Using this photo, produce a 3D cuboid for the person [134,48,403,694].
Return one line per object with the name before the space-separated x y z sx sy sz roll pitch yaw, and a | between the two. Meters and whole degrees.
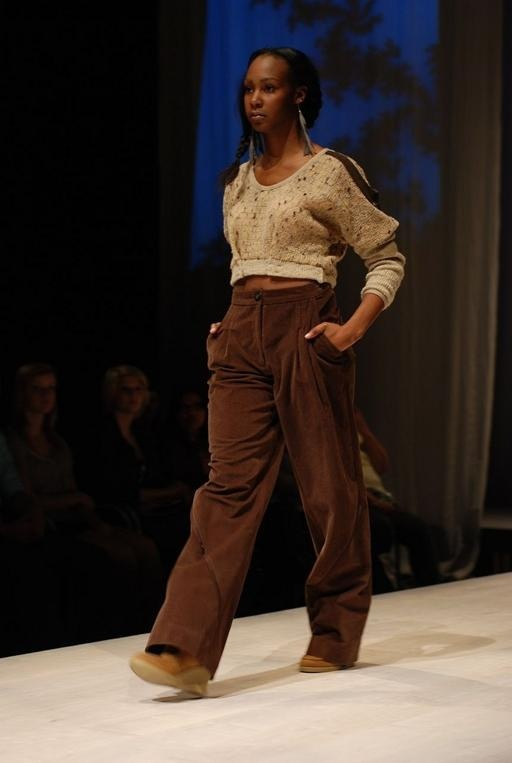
person | 0.025 0.075 1.360 0.359 1.034 0.613 2 11 23
